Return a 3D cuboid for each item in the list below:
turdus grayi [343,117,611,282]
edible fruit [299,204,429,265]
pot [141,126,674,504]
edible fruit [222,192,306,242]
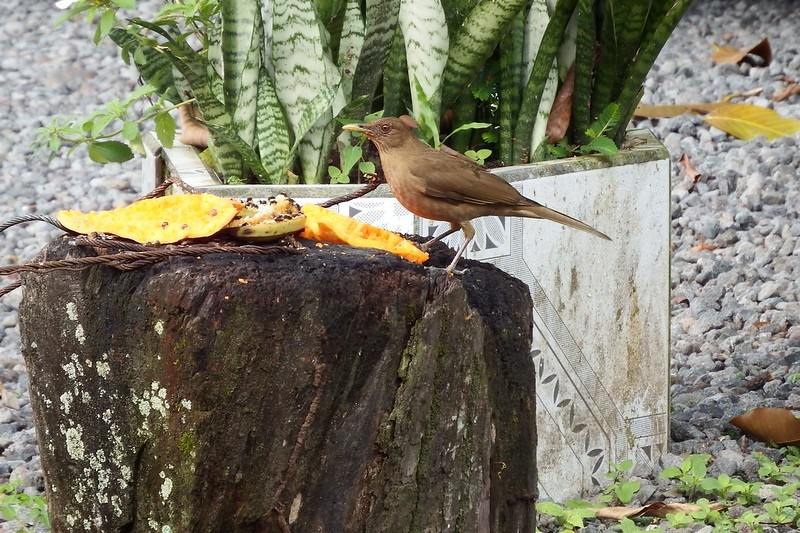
[{"bbox_3d":[0.348,-0.291,5.428,0.967,0.622,0.720,3,8,25],"label":"turdus grayi"},{"bbox_3d":[-0.142,-0.105,5.180,0.480,0.213,0.174,3,26,10],"label":"edible fruit"},{"bbox_3d":[0.165,0.231,6.621,2.164,1.740,1.788,-7,17,-38],"label":"pot"},{"bbox_3d":[-0.492,-0.180,5.059,0.276,0.138,0.182,1,25,6],"label":"edible fruit"}]
